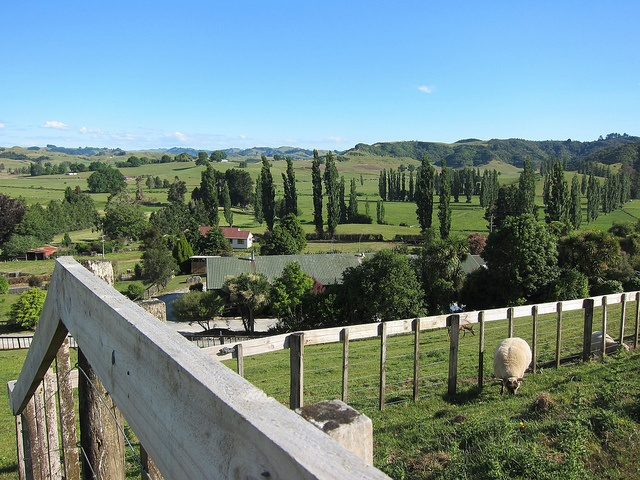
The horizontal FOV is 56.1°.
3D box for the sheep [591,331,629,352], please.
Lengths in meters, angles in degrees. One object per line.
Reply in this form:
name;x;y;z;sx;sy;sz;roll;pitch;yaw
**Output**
sheep;8.035;2.811;16.907;0.606;0.330;0.841;3;12;-35
